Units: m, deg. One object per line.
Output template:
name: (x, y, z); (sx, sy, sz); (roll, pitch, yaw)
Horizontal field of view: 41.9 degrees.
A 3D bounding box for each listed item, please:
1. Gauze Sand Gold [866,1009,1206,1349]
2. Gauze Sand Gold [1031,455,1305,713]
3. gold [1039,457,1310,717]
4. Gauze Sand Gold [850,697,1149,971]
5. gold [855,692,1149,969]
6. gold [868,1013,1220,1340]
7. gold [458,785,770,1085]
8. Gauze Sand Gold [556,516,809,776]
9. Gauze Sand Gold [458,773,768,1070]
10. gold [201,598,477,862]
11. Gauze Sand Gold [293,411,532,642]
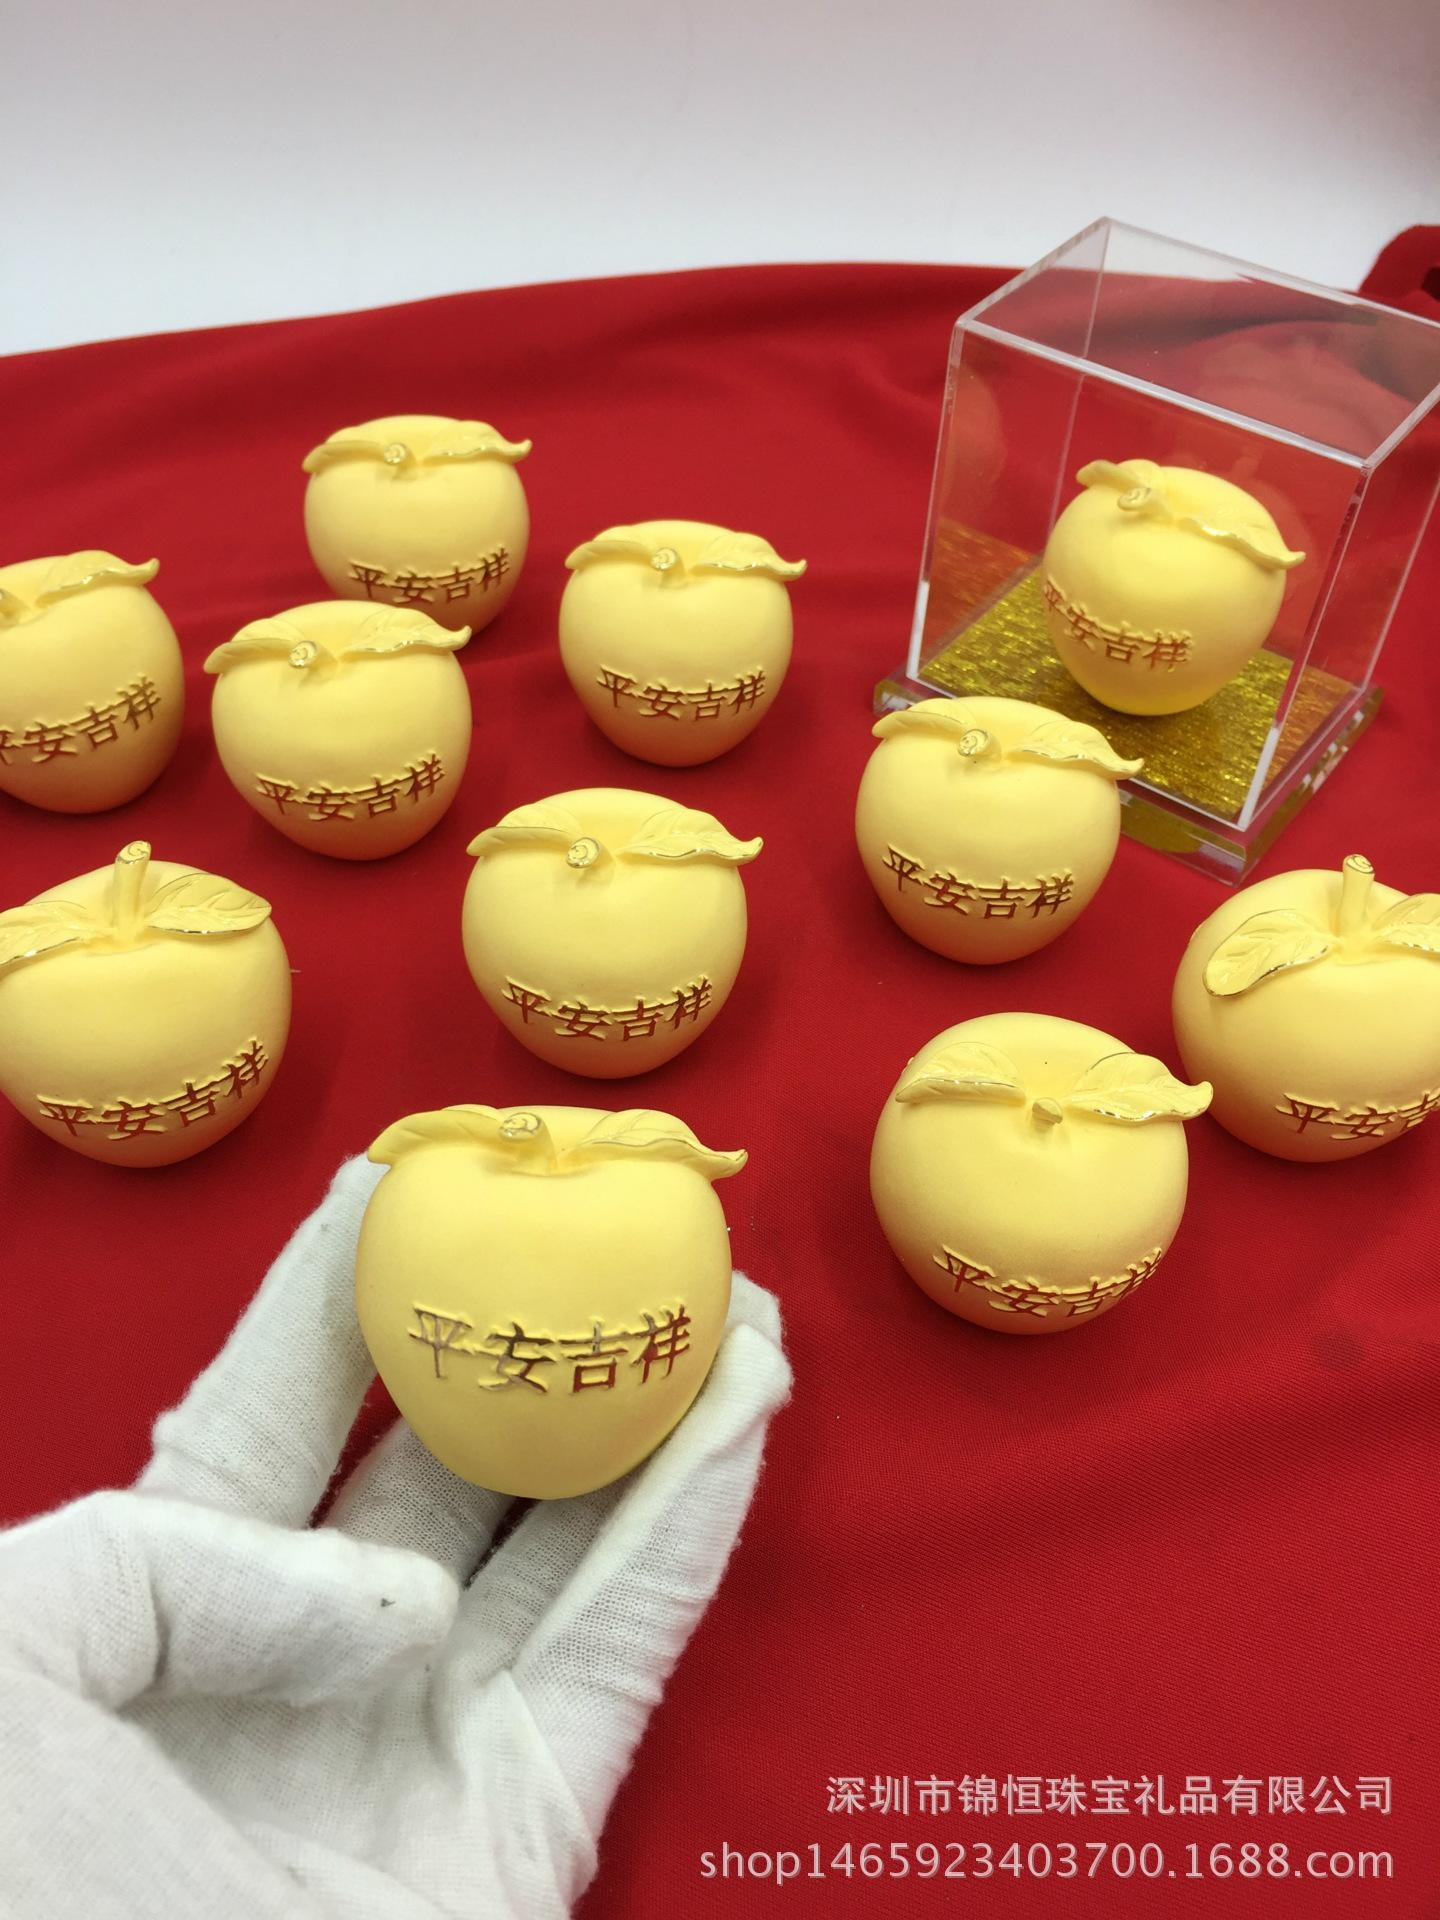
Gauze Sand Gold: (0.257, 0.204, 1.739); (0.327, 0.293, 0.285); (-4, 48, -14)
Gauze Sand Gold: (0.546, -0.437, 2.224); (0.306, 0.295, 0.255); (5, 53, 11)
gold: (0.534, -0.431, 2.169); (0.254, 0.254, 0.245); (34, 58, 28)
Gauze Sand Gold: (0.287, -0.161, 2.030); (0.305, 0.290, 0.248); (-3, 55, -4)
gold: (0.254, -0.135, 2.015); (0.323, 0.292, 0.272); (3, 39, 4)
gold: (0.242, 0.179, 1.748); (0.412, 0.357, 0.260); (4, 66, 0)
gold: (-0.128, -0.034, 1.920); (0.330, 0.295, 0.289); (-9, 50, -17)
Gauze Sand Gold: (-0.075, -0.366, 2.223); (0.323, 0.295, 0.267); (-3, 44, -5)
Gauze Sand Gold: (-0.110, -0.037, 1.932); (0.323, 0.280, 0.272); (0, 35, 0)
gold: (-0.435, -0.268, 2.103); (0.331, 0.315, 0.276); (-8, 55, -15)
Gauze Sand Gold: (-0.372, -0.551, 2.362); (0.304, 0.285, 0.259); (-8, 54, -4)
